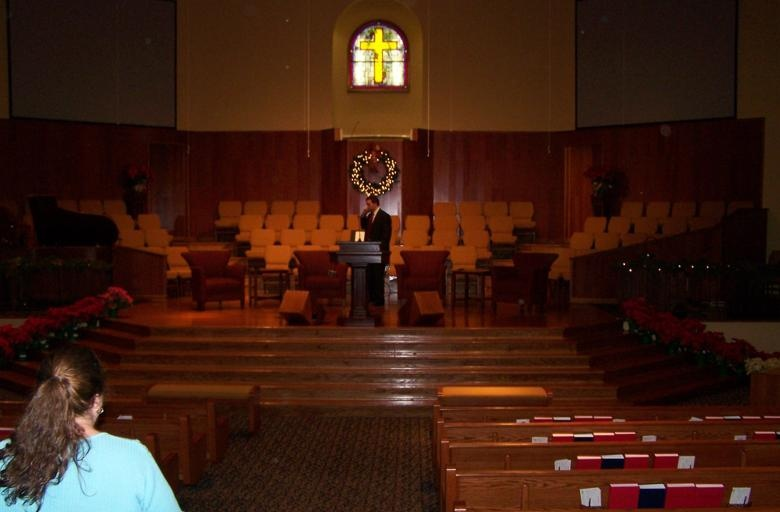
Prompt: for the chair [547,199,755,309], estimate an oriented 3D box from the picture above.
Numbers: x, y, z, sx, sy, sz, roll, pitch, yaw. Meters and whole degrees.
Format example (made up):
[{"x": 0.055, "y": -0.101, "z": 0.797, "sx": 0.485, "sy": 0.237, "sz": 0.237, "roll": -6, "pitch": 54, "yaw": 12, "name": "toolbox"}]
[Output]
[{"x": 4.735, "y": -0.014, "z": 10.718, "sx": 2.692, "sy": 1.500, "sz": 1.608, "roll": -1, "pitch": 1, "yaw": 5, "name": "chair"}]
